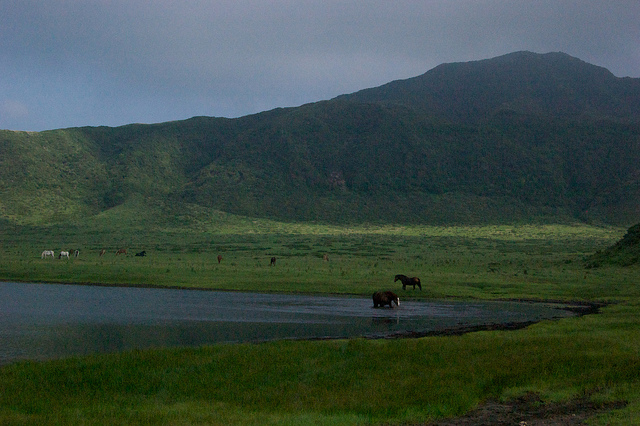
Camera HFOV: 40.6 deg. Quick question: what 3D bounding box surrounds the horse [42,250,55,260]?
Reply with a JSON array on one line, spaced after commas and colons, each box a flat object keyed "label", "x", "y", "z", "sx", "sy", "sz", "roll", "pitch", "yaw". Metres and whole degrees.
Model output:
[{"label": "horse", "x": -44.928, "y": 6.795, "z": 142.106, "sx": 1.782, "sy": 1.105, "sz": 1.801, "roll": -1, "pitch": 10, "yaw": -18}]

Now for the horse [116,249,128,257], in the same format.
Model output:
[{"label": "horse", "x": -34.027, "y": 6.713, "z": 150.152, "sx": 3.003, "sy": 1.533, "sz": 0.744, "roll": 4, "pitch": -6, "yaw": -25}]
